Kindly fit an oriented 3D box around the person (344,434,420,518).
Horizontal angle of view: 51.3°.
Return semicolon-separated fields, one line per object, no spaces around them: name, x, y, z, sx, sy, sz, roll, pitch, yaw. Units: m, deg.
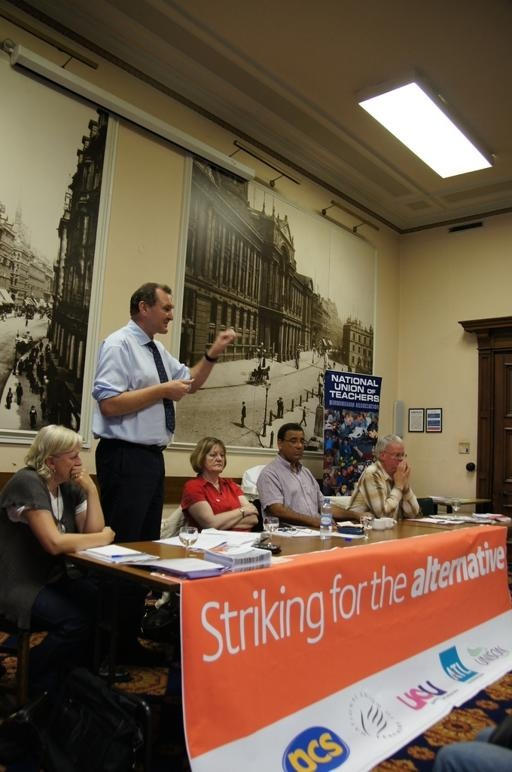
person;0.874;0.731;3.714;0.431;0.747;0.368;7;4;43

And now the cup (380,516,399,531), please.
cup;0.710;0.749;2.858;0.085;0.053;0.128;-6;-11;28

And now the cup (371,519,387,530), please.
cup;0.651;0.732;2.811;0.070;0.048;0.054;-1;-3;6

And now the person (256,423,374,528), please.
person;0.379;0.645;3.613;0.707;0.833;0.701;-3;-11;4

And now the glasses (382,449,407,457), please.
glasses;0.951;0.472;3.604;0.126;0.065;0.069;4;2;-20

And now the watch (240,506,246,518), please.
watch;-0.080;0.746;3.165;0.042;0.044;0.025;17;5;-28
